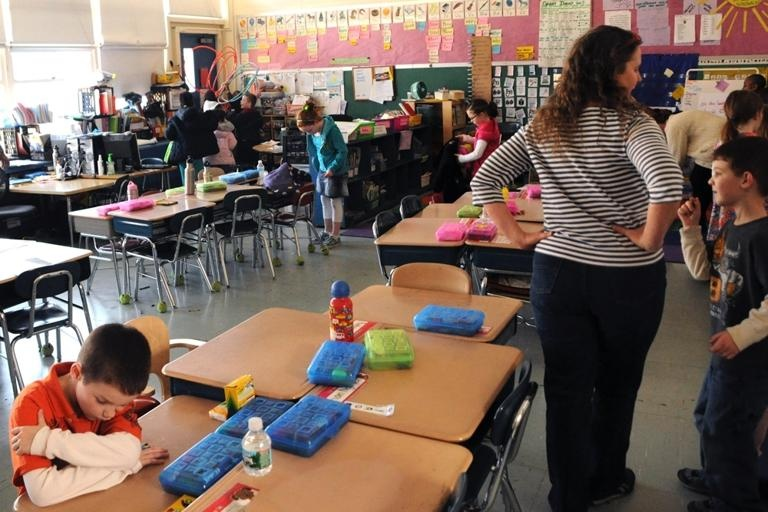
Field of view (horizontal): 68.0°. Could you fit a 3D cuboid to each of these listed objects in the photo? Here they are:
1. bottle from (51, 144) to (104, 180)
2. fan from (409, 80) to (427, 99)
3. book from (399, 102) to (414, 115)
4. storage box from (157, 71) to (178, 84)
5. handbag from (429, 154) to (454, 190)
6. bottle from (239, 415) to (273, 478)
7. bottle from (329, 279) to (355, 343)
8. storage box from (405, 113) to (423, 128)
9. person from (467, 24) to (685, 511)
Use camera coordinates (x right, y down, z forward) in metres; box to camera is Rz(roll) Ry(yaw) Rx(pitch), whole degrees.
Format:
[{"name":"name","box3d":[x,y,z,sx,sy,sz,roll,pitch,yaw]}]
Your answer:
[{"name":"bottle","box3d":[-3.955,-1.203,7.397,0.490,0.450,0.242,4,12,15]},{"name":"fan","box3d":[0.599,-2.935,10.207,0.305,0.421,0.388,7,17,31]},{"name":"book","box3d":[0.424,-2.536,9.877,0.226,0.216,0.521,-3,15,5]},{"name":"storage box","box3d":[-3.848,-3.153,10.183,0.494,0.220,0.268,-15,18,-35]},{"name":"handbag","box3d":[0.633,-0.962,6.537,0.277,0.368,0.100,3,18,-32]},{"name":"bottle","box3d":[-0.478,0.692,2.118,0.117,0.210,0.129,-4,15,1]},{"name":"bottle","box3d":[-0.217,0.284,2.836,0.126,0.316,0.232,-6,15,-5]},{"name":"storage box","box3d":[0.528,-2.307,9.754,0.202,0.131,0.320,6,13,33]},{"name":"person","box3d":[0.878,0.214,2.587,0.752,2.352,0.363,-1,16,14]}]
